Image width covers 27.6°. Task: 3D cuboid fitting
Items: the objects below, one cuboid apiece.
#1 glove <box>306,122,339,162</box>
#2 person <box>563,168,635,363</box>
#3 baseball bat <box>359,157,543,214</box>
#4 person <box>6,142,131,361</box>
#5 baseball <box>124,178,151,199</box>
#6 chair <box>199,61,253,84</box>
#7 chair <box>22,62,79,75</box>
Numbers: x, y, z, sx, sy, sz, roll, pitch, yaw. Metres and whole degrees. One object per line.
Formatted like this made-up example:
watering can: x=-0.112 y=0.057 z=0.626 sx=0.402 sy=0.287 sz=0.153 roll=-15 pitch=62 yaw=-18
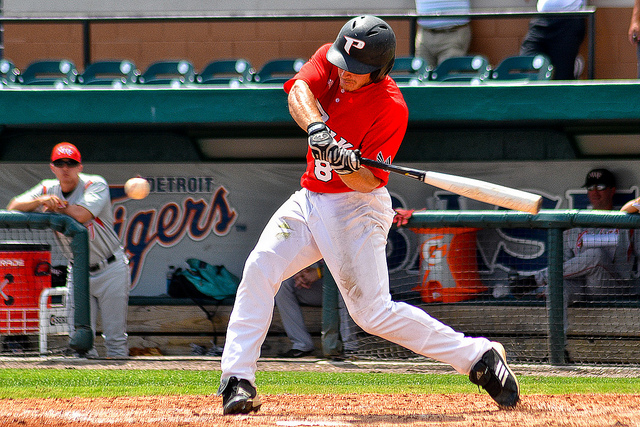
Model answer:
glove: x=-0.006 y=-0.471 z=8.488 sx=0.197 sy=0.246 sz=0.119 roll=-16 pitch=1 yaw=-6
person: x=2.233 y=0.363 z=10.397 sx=0.574 sy=1.574 sz=1.209 roll=-4 pitch=-5 yaw=13
baseball bat: x=0.828 y=-0.228 z=9.065 sx=0.194 sy=0.167 sz=1.798 roll=16 pitch=0 yaw=-44
person: x=-1.832 y=0.300 z=10.266 sx=0.769 sy=1.687 sz=1.038 roll=-4 pitch=-5 yaw=14
baseball: x=-1.482 y=-0.203 z=10.543 sx=0.206 sy=0.164 sz=0.183 roll=-14 pitch=-12 yaw=-15
chair: x=-0.780 y=-1.169 z=10.808 sx=0.458 sy=0.203 sz=0.131 roll=-3 pitch=-5 yaw=12
chair: x=-2.269 y=-1.207 z=10.922 sx=0.490 sy=0.127 sz=0.128 roll=-3 pitch=-4 yaw=15
